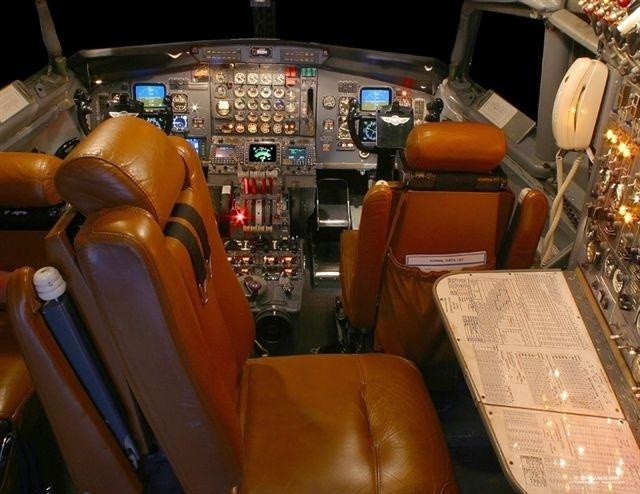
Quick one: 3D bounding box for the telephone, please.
[{"bbox_3d":[1.005,-0.544,2.032,0.150,0.358,0.172,-22,39,-30],"label":"telephone"}]
